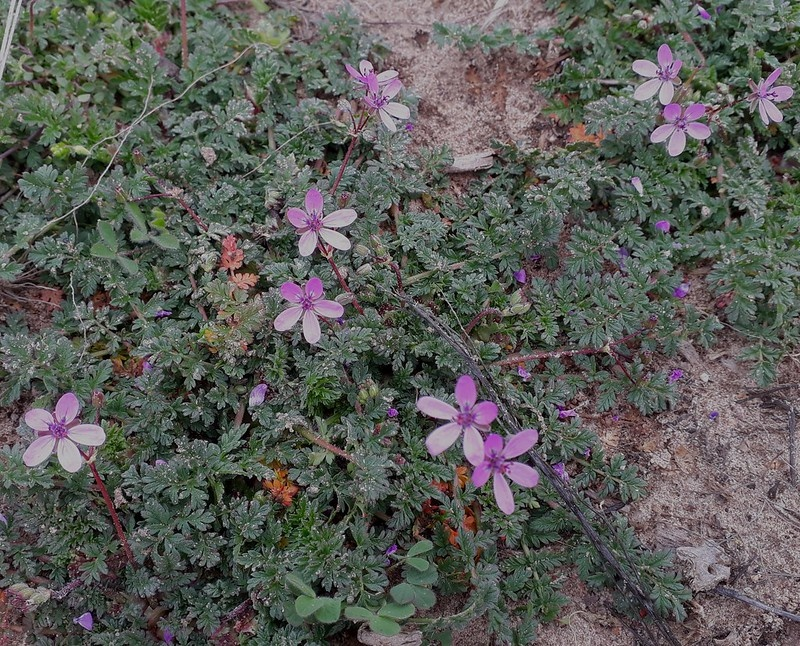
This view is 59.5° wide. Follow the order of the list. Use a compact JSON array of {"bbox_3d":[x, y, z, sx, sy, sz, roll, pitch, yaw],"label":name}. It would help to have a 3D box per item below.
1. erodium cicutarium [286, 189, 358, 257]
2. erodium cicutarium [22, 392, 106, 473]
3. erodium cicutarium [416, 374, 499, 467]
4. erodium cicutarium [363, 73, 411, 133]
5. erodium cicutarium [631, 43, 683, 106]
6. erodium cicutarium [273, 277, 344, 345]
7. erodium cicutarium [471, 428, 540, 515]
[{"bbox_3d":[-0.432,-0.547,3.829,0.352,0.218,0.294,4,64,-1],"label":"erodium cicutarium"},{"bbox_3d":[-1.687,0.546,3.532,0.391,0.206,0.348,7,64,0],"label":"erodium cicutarium"},{"bbox_3d":[0.255,0.487,3.442,0.377,0.332,0.387,15,64,5],"label":"erodium cicutarium"},{"bbox_3d":[-0.093,-1.340,4.122,0.275,0.138,0.357,17,83,-15],"label":"erodium cicutarium"},{"bbox_3d":[1.565,-1.497,4.266,0.156,0.325,0.385,-21,97,-50],"label":"erodium cicutarium"},{"bbox_3d":[-0.482,-0.055,3.766,0.326,0.295,0.288,15,64,5],"label":"erodium cicutarium"},{"bbox_3d":[0.472,0.643,3.412,0.250,0.406,0.372,16,70,18],"label":"erodium cicutarium"}]
